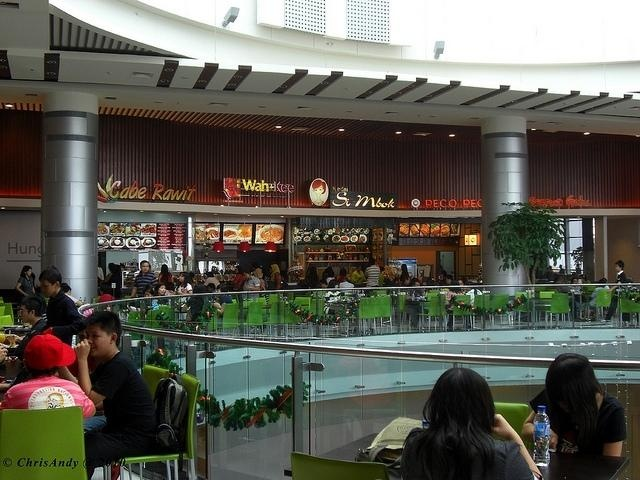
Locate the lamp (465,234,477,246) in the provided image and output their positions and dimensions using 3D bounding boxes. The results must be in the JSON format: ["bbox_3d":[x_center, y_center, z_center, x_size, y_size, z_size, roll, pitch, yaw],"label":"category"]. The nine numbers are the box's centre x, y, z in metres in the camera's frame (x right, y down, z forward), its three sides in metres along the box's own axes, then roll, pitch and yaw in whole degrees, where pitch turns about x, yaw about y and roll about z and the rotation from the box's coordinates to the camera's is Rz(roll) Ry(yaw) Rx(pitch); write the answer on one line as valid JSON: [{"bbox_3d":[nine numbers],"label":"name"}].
[{"bbox_3d":[6.178,-0.004,22.070,0.477,0.388,0.160,1,-4,-2],"label":"lamp"}]

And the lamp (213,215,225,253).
[{"bbox_3d":[-3.466,-0.087,18.226,0.363,1.009,0.534,-2,-3,-11],"label":"lamp"}]

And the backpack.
[{"bbox_3d":[-1.009,1.198,3.638,0.247,0.555,0.472,-1,-4,-1],"label":"backpack"}]

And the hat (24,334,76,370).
[{"bbox_3d":[-1.662,0.722,3.389,0.357,0.243,0.196,-3,-43,-22],"label":"hat"}]

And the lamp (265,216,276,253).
[{"bbox_3d":[-1.729,-0.062,18.903,0.378,0.986,0.711,-2,-3,-5],"label":"lamp"}]

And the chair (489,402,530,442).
[{"bbox_3d":[1.195,1.161,3.453,0.179,0.240,0.200,-2,-11,8],"label":"chair"}]
